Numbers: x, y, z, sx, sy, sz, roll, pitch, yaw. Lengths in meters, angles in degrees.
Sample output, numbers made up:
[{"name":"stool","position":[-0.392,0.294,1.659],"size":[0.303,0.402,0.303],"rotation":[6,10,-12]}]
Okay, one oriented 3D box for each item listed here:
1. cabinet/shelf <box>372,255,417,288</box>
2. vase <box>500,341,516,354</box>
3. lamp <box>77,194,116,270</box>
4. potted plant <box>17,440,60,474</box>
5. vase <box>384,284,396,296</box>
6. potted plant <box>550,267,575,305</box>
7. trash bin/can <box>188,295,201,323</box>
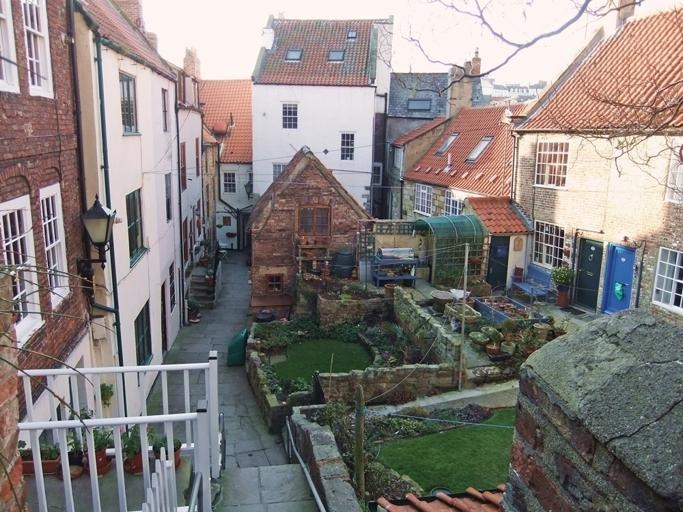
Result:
[{"name":"cabinet/shelf","position":[2.119,0.527,22.566],"size":[1.920,1.516,1.105],"rotation":[0,18,-6]},{"name":"vase","position":[4.807,2.595,16.276],"size":[0.413,0.289,0.296],"rotation":[2,8,10]},{"name":"lamp","position":[-4.463,-0.430,10.477],"size":[0.577,1.400,1.182],"rotation":[-2,8,-23]},{"name":"potted plant","position":[-3.571,2.365,6.719],"size":[0.392,0.270,0.600],"rotation":[-4,9,-32]},{"name":"vase","position":[1.851,1.259,21.262],"size":[0.326,0.453,0.577],"rotation":[-4,9,-30]},{"name":"potted plant","position":[7.467,1.010,19.102],"size":[0.681,1.360,0.488],"rotation":[2,7,8]},{"name":"trash bin/can","position":[-5.845,2.092,22.608],"size":[0.473,0.850,0.775],"rotation":[-1,8,-13]}]
